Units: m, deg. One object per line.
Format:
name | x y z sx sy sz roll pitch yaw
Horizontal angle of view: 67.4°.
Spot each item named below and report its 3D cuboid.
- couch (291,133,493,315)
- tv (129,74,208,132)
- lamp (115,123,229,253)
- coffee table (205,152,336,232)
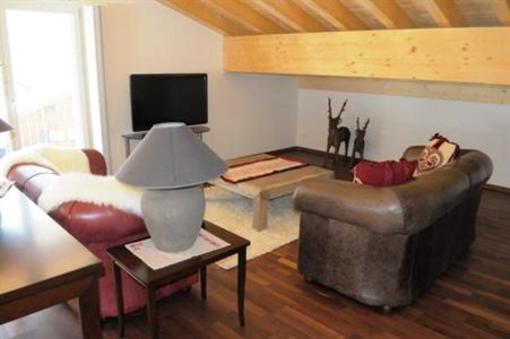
couch | 1.584 0.424 4.105 2.266 1.038 1.268 -15 18 -39
tv | -1.315 -1.029 5.876 1.400 0.907 0.369 -15 26 -43
lamp | -0.656 0.142 2.944 0.879 0.859 0.855 -11 14 -38
coffee table | 0.188 0.218 4.628 1.156 0.382 1.112 -13 20 -36
